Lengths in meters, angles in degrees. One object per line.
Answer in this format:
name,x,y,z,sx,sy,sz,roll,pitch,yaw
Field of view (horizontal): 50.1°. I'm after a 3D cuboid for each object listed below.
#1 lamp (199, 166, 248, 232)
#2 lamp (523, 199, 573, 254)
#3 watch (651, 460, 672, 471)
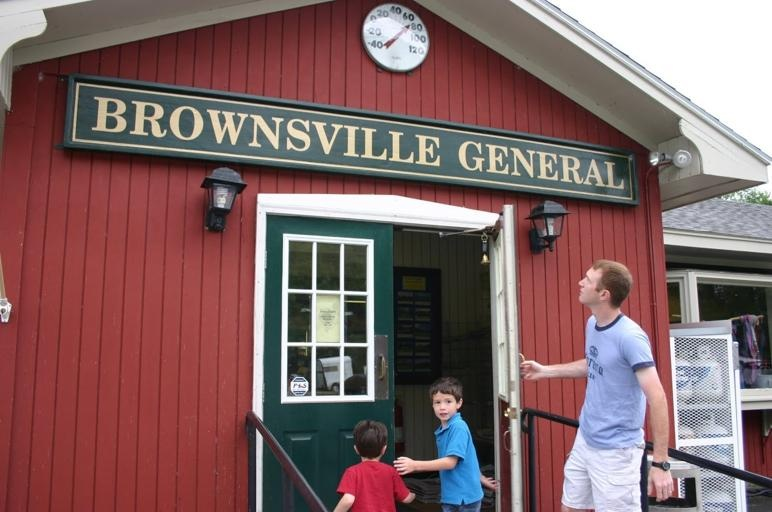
lamp,-1.487,-0.543,7.464,0.358,0.581,0.386,7,-9,-26
lamp,1.596,-0.291,8.306,0.328,0.494,0.356,0,-9,-8
watch,1.975,1.511,5.994,0.106,0.071,0.111,-7,-15,41
